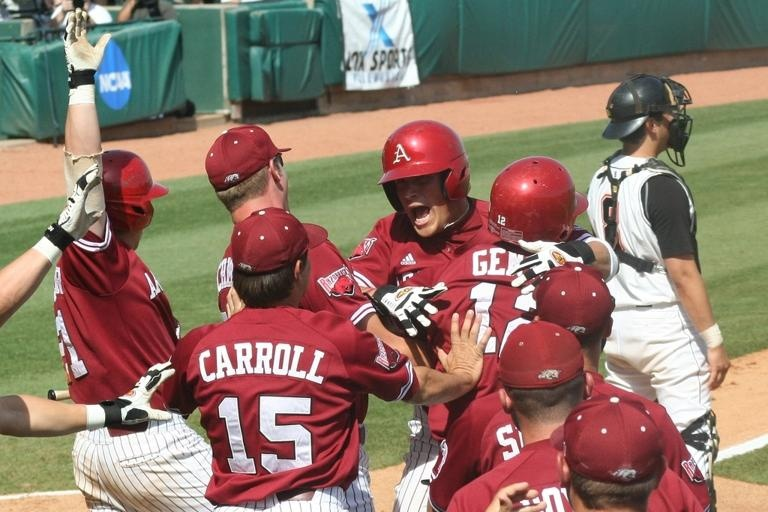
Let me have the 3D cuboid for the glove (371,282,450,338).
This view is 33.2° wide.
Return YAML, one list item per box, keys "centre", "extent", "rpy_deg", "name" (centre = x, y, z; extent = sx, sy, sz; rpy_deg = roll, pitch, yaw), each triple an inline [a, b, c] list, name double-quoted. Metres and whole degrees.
- centre: [0.201, 0.450, 11.022]
  extent: [0.523, 0.516, 0.167]
  rpy_deg: [-40, -12, -25]
  name: "glove"

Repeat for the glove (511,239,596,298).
- centre: [1.443, 0.112, 11.237]
  extent: [0.637, 0.185, 0.398]
  rpy_deg: [-19, 40, -5]
  name: "glove"

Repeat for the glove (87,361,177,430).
- centre: [-2.109, 1.201, 10.854]
  extent: [0.697, 0.228, 0.541]
  rpy_deg: [-20, 28, -36]
  name: "glove"
